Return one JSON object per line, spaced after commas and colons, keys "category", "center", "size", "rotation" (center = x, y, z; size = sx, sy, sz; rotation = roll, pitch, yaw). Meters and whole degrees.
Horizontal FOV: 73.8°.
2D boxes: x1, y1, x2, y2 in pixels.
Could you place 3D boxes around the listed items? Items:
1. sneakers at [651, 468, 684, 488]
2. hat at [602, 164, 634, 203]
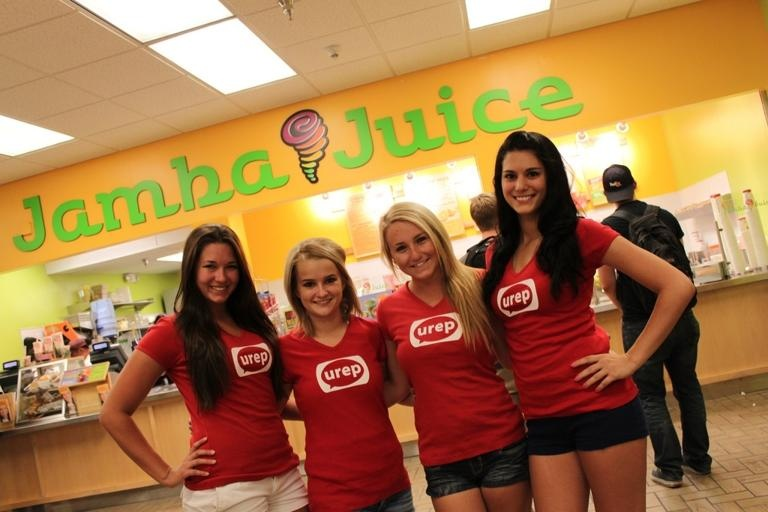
{"category": "sneakers", "center": [2.257, 1.748, 4.114], "size": [0.110, 0.108, 0.245], "rotation": [-1, 4, -15]}
{"category": "hat", "center": [1.890, -0.618, 4.141], "size": [0.254, 0.191, 0.381], "rotation": [-14, 35, 26]}
